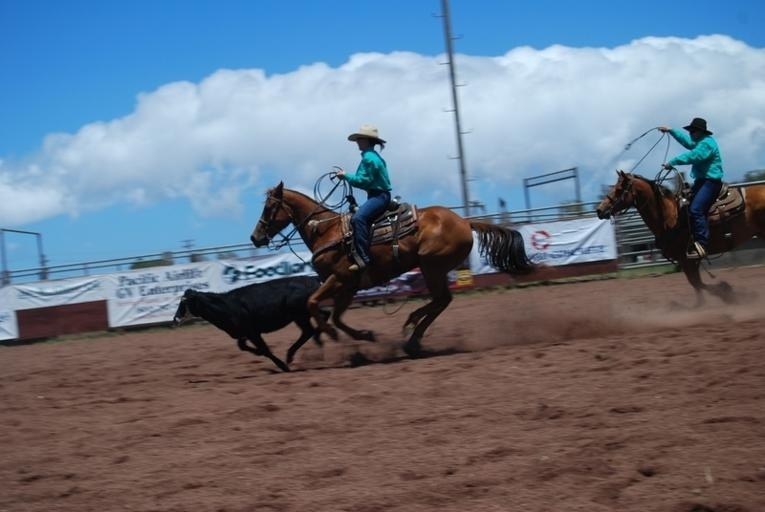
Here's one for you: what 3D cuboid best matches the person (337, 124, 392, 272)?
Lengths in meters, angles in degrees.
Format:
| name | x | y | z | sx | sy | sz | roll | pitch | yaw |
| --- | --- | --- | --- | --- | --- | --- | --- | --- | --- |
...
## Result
| name | x | y | z | sx | sy | sz | roll | pitch | yaw |
| --- | --- | --- | --- | --- | --- | --- | --- | --- | --- |
| person | -0.260 | -0.883 | 14.705 | 0.913 | 2.218 | 1.432 | -12 | 9 | 1 |

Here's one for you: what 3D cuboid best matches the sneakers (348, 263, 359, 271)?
| name | x | y | z | sx | sy | sz | roll | pitch | yaw |
| --- | --- | --- | --- | --- | --- | --- | --- | --- | --- |
| sneakers | -0.440 | 0.165 | 14.846 | 0.198 | 0.097 | 0.072 | -1 | 12 | 33 |

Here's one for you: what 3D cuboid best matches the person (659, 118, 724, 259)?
| name | x | y | z | sx | sy | sz | roll | pitch | yaw |
| --- | --- | --- | --- | --- | --- | --- | --- | --- | --- |
| person | 5.256 | -1.164 | 16.415 | 0.849 | 2.354 | 0.663 | -10 | 10 | 13 |

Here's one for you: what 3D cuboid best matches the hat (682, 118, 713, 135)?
| name | x | y | z | sx | sy | sz | roll | pitch | yaw |
| --- | --- | --- | --- | --- | --- | --- | --- | --- | --- |
| hat | 5.270 | -2.199 | 16.432 | 0.323 | 0.270 | 0.171 | -5 | 10 | 16 |
